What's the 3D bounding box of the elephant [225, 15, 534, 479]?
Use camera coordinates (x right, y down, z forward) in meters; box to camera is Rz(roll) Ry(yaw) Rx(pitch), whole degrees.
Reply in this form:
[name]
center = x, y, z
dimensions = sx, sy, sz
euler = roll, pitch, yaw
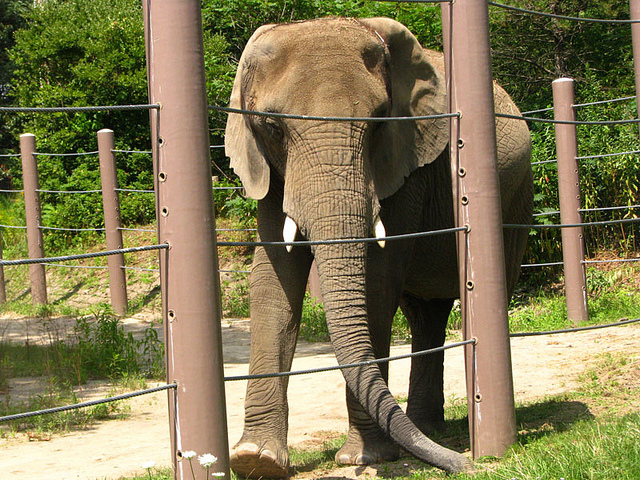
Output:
[elephant]
center = 0.408, -0.010, 9.936
dimensions = 2.751, 3.774, 1.611
euler = -6, 2, -43
